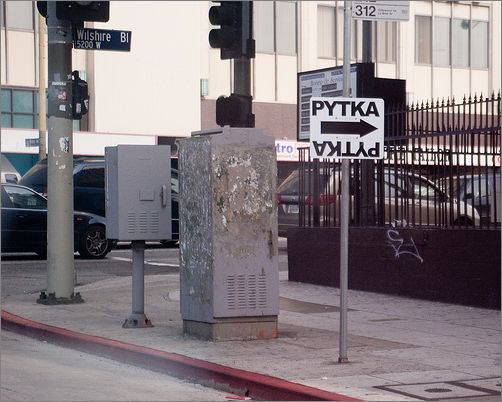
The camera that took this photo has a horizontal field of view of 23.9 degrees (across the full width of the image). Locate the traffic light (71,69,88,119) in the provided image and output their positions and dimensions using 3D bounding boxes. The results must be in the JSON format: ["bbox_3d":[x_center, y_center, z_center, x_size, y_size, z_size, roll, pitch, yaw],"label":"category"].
[{"bbox_3d":[-2.785,-1.777,19.195,0.221,0.787,0.414,1,8,15],"label":"traffic light"}]

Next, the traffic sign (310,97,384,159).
[{"bbox_3d":[1.183,-0.964,15.003,0.639,0.642,0.011,0,3,-5],"label":"traffic sign"}]

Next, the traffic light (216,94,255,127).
[{"bbox_3d":[-0.236,-1.354,17.193,0.544,0.500,0.499,-2,8,-1],"label":"traffic light"}]

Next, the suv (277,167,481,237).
[{"bbox_3d":[2.284,-0.007,20.024,2.497,1.313,1.438,-2,1,-2],"label":"suv"}]

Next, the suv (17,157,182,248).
[{"bbox_3d":[-3.373,-0.083,27.703,3.897,1.956,1.919,0,1,-26],"label":"suv"}]
